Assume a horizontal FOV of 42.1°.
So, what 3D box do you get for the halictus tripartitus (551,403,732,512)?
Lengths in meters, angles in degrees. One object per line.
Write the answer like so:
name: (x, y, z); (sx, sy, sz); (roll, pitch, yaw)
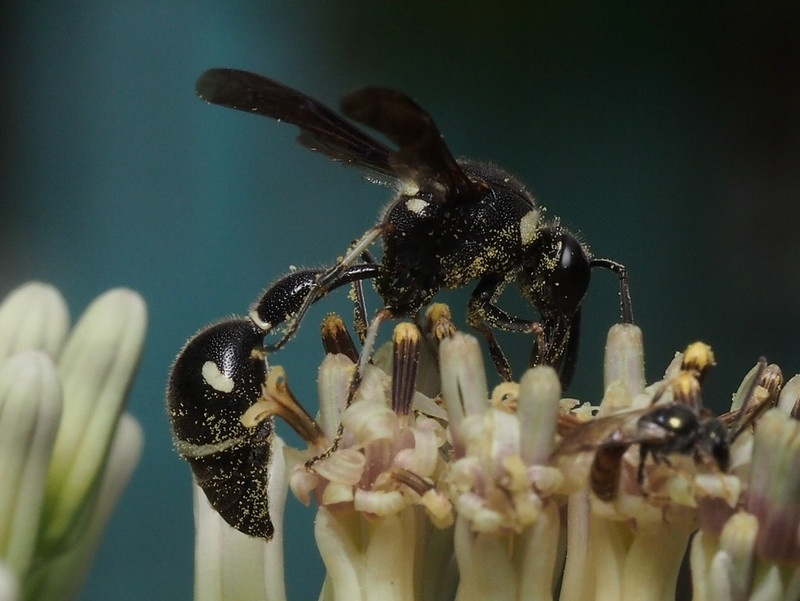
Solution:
halictus tripartitus: (0.205, 0.122, 0.831); (0.153, 0.065, 0.126); (-10, 3, 12)
